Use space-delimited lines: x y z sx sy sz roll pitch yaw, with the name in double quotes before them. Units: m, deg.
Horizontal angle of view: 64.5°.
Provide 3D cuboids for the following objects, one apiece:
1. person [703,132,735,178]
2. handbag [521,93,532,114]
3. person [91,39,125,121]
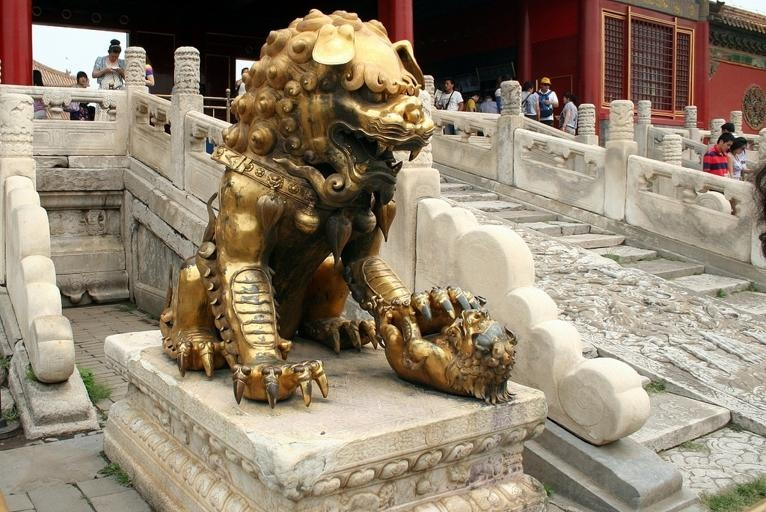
"person" 5.309 -1.624 9.548 0.384 0.678 0.793 10 14 36
"handbag" 3.019 -3.218 12.737 0.358 0.358 0.266 1 6 13
"person" -4.050 -2.646 9.000 0.423 1.190 1.766 -3 13 -25
